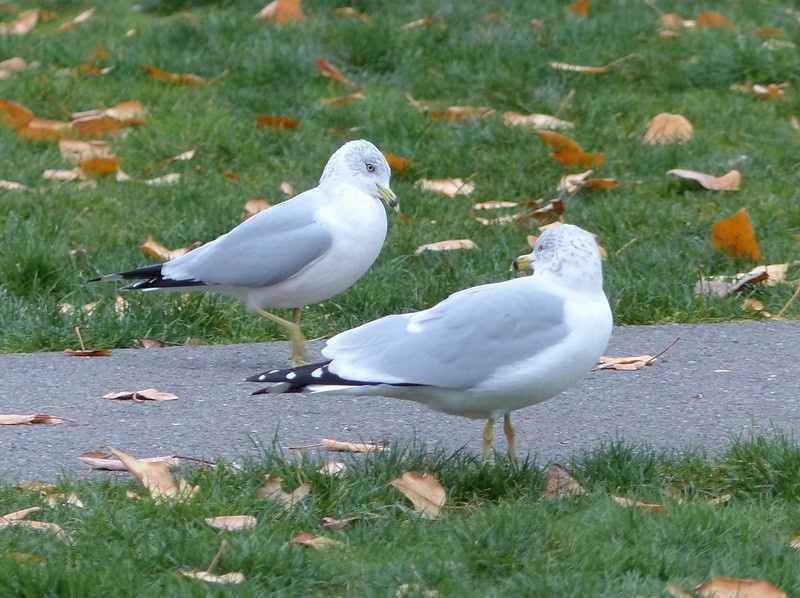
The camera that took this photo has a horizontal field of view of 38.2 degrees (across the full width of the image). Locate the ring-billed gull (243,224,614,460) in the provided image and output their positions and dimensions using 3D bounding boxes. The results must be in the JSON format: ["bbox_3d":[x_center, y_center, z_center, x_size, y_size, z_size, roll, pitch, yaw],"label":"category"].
[{"bbox_3d":[0.386,0.187,5.766,2.309,0.942,0.602,-2,12,18],"label":"ring-billed gull"}]
